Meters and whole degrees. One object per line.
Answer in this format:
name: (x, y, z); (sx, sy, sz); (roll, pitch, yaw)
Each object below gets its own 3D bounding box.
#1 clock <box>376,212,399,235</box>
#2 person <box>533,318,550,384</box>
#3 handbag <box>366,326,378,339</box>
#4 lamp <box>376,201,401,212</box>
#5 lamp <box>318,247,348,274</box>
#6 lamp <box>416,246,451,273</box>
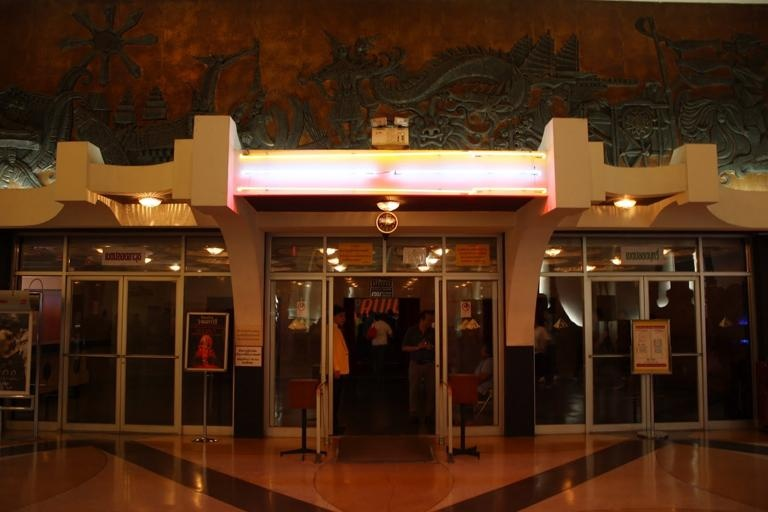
clock: (0.068, -0.709, 16.304); (0.463, 0.504, 0.991); (0, 13, -1)
person: (3.485, 2.089, 17.380); (0.342, 1.293, 0.430); (2, 13, 11)
handbag: (-0.248, 1.644, 17.250); (0.303, 0.412, 0.229); (0, -1, 10)
lamp: (0.096, -1.030, 16.105); (0.478, 0.298, 0.522); (-1, 13, -1)
lamp: (-1.103, 0.080, 17.350); (0.575, 0.517, 0.185); (-1, 13, -1)
lamp: (1.065, 0.072, 17.403); (0.562, 0.255, 0.574); (-4, -7, 44)
